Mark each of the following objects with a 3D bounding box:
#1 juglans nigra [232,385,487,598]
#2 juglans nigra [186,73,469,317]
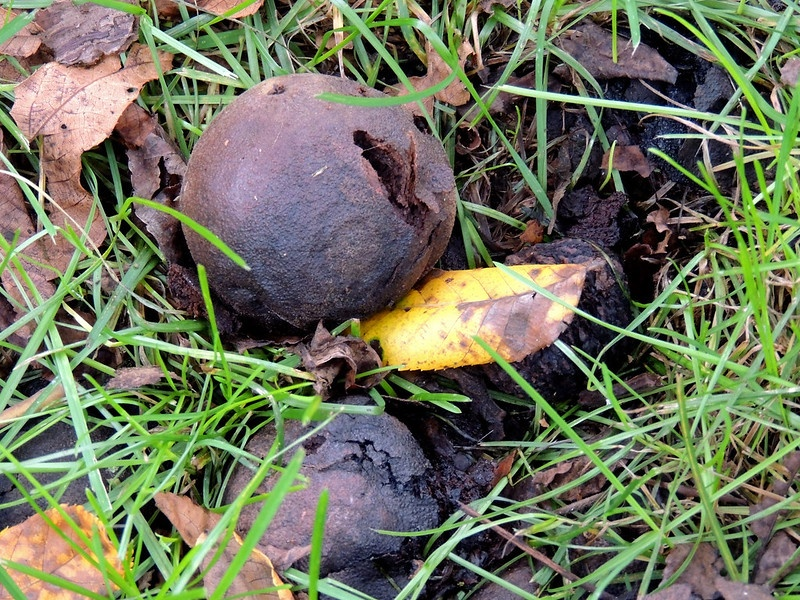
[{"bbox_3d":[-0.060,0.648,2.294,0.584,0.198,0.546,23,80,7],"label":"juglans nigra"},{"bbox_3d":[-0.263,-0.297,2.315,0.836,0.367,0.748,14,79,6],"label":"juglans nigra"}]
